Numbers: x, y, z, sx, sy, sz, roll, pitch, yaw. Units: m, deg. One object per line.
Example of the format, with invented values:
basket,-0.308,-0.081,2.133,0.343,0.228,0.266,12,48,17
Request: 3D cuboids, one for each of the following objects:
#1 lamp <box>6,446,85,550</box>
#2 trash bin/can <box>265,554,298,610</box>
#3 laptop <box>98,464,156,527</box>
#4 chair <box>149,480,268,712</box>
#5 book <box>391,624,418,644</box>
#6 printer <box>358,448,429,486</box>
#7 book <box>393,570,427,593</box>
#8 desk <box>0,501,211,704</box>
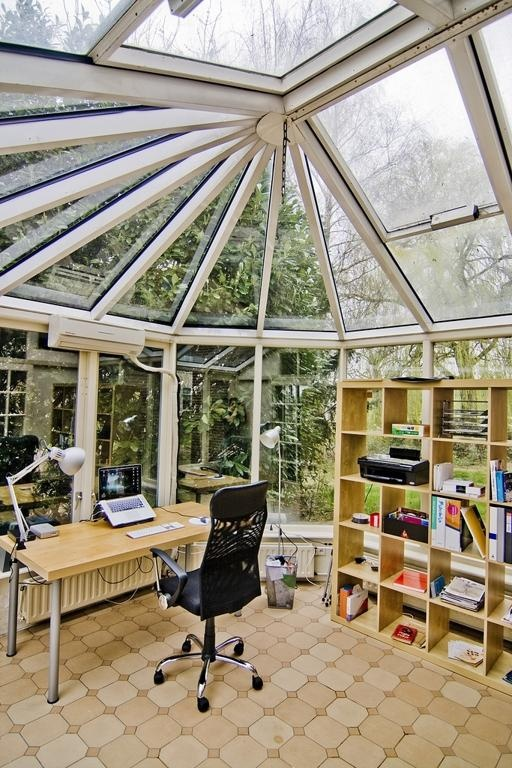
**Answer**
lamp,-1.369,0.681,3.381,0.396,0.615,0.646,0,3,-30
trash bin/can,0.188,1.543,4.181,0.221,0.349,0.305,1,2,0
laptop,-0.949,0.798,3.835,0.372,0.301,0.397,3,9,-38
chair,-0.259,1.135,3.089,0.666,1.234,0.688,1,2,-15
book,1.009,1.703,3.619,0.152,0.039,0.249,2,3,21
printer,1.002,0.588,3.696,0.263,0.203,0.350,11,-12,-42
book,1.066,1.348,3.691,0.213,0.080,0.344,2,3,16
desk,-1.046,0.958,3.291,0.697,0.707,1.389,8,9,41
